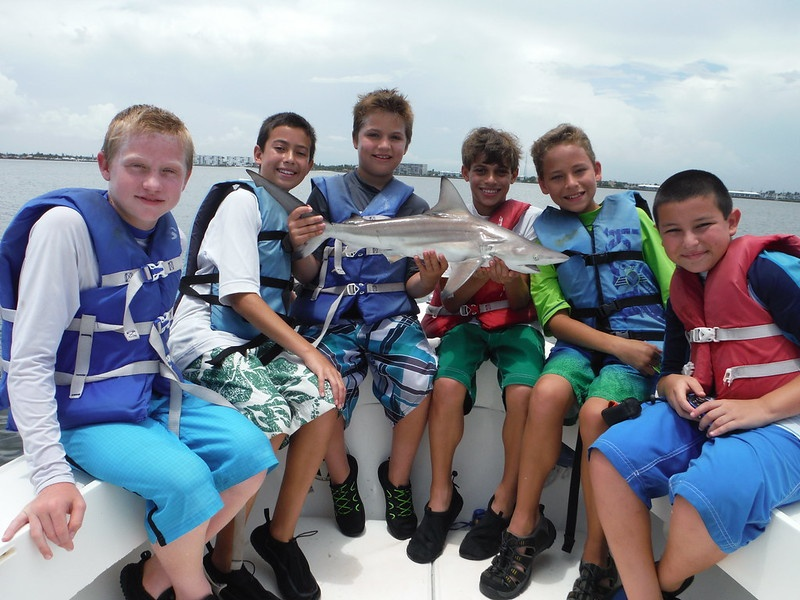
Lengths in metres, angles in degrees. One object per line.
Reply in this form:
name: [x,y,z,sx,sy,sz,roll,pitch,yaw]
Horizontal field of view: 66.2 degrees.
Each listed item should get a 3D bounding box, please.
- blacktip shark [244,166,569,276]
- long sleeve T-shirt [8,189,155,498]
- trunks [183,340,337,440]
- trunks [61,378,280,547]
blacktip shark: [0.088,-0.382,3.371,1.682,0.587,0.507,7,20,8]
long sleeve T-shirt: [-1.377,0.146,2.545,0.715,0.918,0.281,10,-6,-19]
trunks: [-0.743,0.459,3.086,0.616,0.268,0.619,12,14,-17]
trunks: [-1.015,0.633,2.712,0.808,0.237,0.512,28,40,33]
